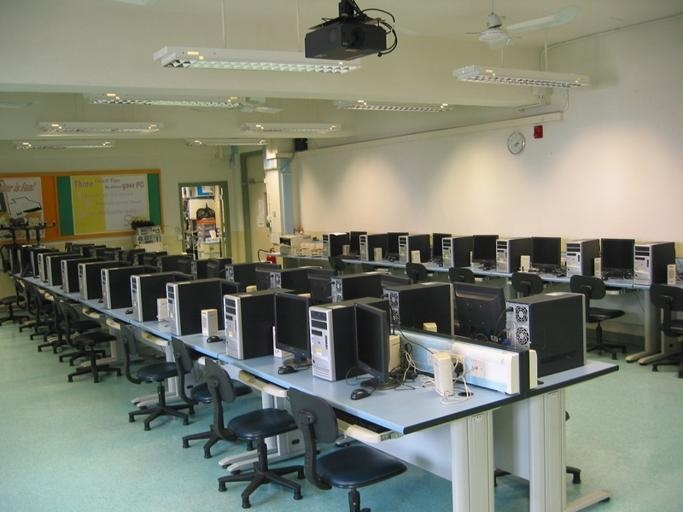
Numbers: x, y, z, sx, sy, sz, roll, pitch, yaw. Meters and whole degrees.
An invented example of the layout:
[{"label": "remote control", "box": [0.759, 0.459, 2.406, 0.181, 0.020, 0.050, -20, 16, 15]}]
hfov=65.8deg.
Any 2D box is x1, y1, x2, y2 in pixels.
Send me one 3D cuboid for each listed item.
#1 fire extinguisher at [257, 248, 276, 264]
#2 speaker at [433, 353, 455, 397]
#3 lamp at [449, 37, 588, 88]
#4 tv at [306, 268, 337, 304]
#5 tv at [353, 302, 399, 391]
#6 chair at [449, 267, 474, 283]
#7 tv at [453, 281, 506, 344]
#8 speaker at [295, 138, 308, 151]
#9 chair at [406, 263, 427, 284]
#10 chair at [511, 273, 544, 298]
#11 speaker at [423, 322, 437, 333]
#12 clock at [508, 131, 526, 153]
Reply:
[{"label": "fire extinguisher", "box": [-1.745, -0.001, 12.562, 0.197, 0.272, 0.364, -10, 13, -40]}, {"label": "speaker", "box": [0.656, 0.782, 3.443, 0.116, 0.254, 0.191, -3, 11, 8]}, {"label": "lamp", "box": [2.024, -2.097, 6.097, 1.803, 0.211, 0.361, -9, 11, -29]}, {"label": "tv", "box": [-0.183, 0.295, 4.985, 0.212, 0.326, 0.306, -8, 11, -38]}, {"label": "tv", "box": [0.216, 0.618, 3.676, 0.246, 0.551, 0.340, -5, 11, 0]}, {"label": "chair", "box": [1.683, 0.290, 7.546, 0.198, 0.201, 0.197, 10, 15, 43]}, {"label": "tv", "box": [1.020, 0.449, 4.001, 0.136, 0.357, 0.417, -23, 25, -40]}, {"label": "speaker", "box": [-0.935, -2.656, 12.576, 0.351, 0.270, 0.166, 8, 17, 23]}, {"label": "chair", "box": [1.104, 0.270, 7.927, 0.276, 0.261, 0.248, 11, 19, 41]}, {"label": "chair", "box": [2.274, 0.361, 6.541, 0.362, 0.333, 0.346, -9, 12, -41]}, {"label": "speaker", "box": [0.651, 0.540, 3.925, 0.083, 0.064, 0.077, -1, 0, -14]}, {"label": "clock", "box": [2.681, -1.754, 8.212, 0.073, 0.361, 0.306, -11, 13, -26]}]
